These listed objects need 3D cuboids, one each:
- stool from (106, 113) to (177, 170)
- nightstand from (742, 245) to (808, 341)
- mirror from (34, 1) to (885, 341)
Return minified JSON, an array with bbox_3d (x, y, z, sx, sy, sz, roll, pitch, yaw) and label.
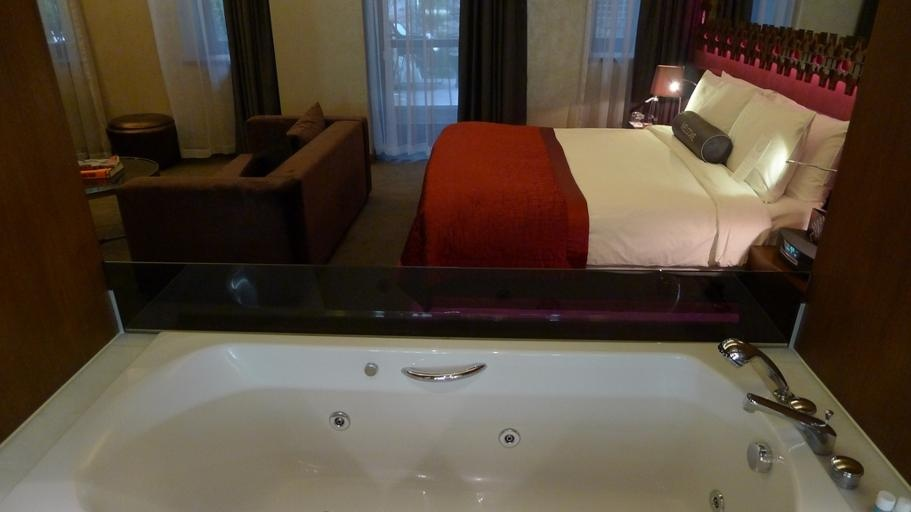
[{"bbox_3d":[-3.170,-1.237,6.243,0.729,0.599,0.718,1,18,-3],"label":"stool"},{"bbox_3d":[1.635,0.203,2.989,0.211,0.264,0.404,-7,40,1],"label":"nightstand"},{"bbox_3d":[0.197,-0.006,3.581,3.655,0.985,2.554,2,55,0],"label":"mirror"}]
